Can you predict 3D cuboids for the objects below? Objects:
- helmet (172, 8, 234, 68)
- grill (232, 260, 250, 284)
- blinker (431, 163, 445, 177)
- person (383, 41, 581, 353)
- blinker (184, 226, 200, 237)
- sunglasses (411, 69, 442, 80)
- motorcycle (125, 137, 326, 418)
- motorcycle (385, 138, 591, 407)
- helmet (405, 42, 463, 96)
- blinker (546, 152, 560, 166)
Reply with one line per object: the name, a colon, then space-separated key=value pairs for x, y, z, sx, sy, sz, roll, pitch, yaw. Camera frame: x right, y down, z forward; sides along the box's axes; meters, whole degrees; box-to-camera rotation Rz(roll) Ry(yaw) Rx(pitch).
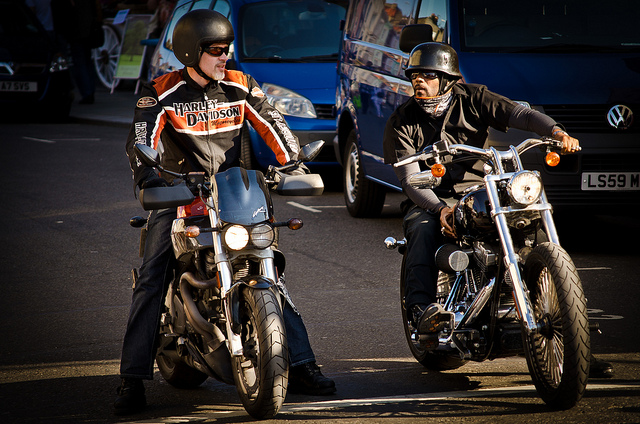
helmet: x=-0.726 y=-1.163 z=4.691 sx=0.416 sy=0.333 sz=0.335 roll=0 pitch=14 yaw=20
grill: x=-0.474 y=0.346 z=4.280 sx=0.101 sy=0.116 sz=0.051 roll=-3 pitch=14 yaw=-10
blinker: x=0.727 y=-0.262 z=4.382 sx=0.071 sy=0.070 sz=0.070 roll=-1 pitch=1 yaw=4
person: x=1.077 y=-0.216 z=5.264 sx=1.273 sy=2.098 sz=1.113 roll=-12 pitch=12 yaw=-4
blinker: x=-0.760 y=0.115 z=4.238 sx=0.076 sy=0.040 sz=0.064 roll=-24 pitch=-38 yaw=36
sunglasses: x=0.746 y=-0.976 z=4.983 sx=0.214 sy=0.070 sz=0.077 roll=2 pitch=14 yaw=8
motorcycle: x=-0.508 y=0.432 z=4.436 sx=1.041 sy=1.418 sz=0.611 roll=9 pitch=17 yaw=35
motorcycle: x=1.202 y=0.397 z=5.085 sx=1.004 sy=1.591 sz=2.873 roll=-2 pitch=-2 yaw=-6
helmet: x=0.833 y=-1.019 z=5.133 sx=0.407 sy=0.438 sz=0.462 roll=5 pitch=4 yaw=21
blinker: x=1.512 y=-0.350 z=4.640 sx=0.087 sy=0.086 sz=0.023 roll=0 pitch=1 yaw=3
